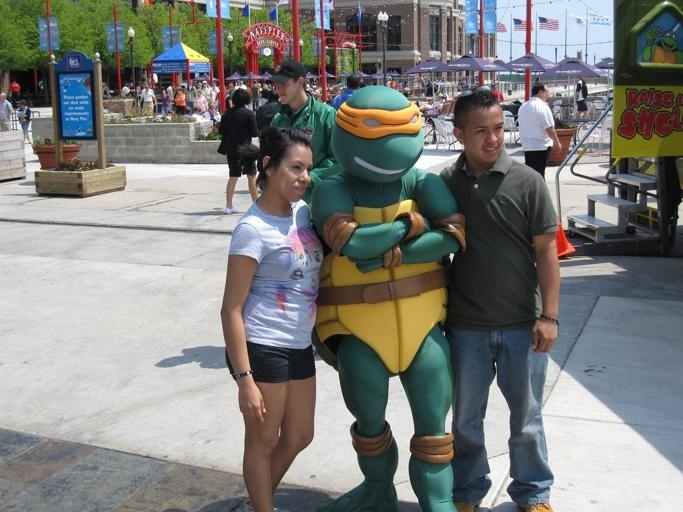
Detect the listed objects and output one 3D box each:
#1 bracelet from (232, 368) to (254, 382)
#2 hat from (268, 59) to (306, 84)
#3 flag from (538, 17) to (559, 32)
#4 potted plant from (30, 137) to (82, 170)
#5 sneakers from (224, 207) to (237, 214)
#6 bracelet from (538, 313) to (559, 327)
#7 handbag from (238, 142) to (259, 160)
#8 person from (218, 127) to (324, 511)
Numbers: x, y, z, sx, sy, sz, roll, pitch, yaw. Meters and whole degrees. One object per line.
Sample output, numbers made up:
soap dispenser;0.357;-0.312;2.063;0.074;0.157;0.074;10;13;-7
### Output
bracelet;-0.444;0.525;2.825;0.067;0.023;0.059;-21;-6;29
hat;-0.399;-1.340;4.598;0.256;0.165;0.240;-3;13;-10
flag;13.031;-14.604;39.968;1.462;0.693;0.702;-10;15;-35
potted plant;-7.475;-2.677;16.377;1.342;0.767;1.316;-6;9;-41
sneakers;-1.976;-0.794;11.116;0.231;0.093;0.080;-2;13;-6
bracelet;0.990;0.304;3.008;0.066;0.021;0.058;17;2;-6
handbag;-0.481;-0.548;3.268;0.110;0.055;0.118;-4;54;24
person;-0.320;0.300;2.999;0.301;1.772;0.577;7;15;32
